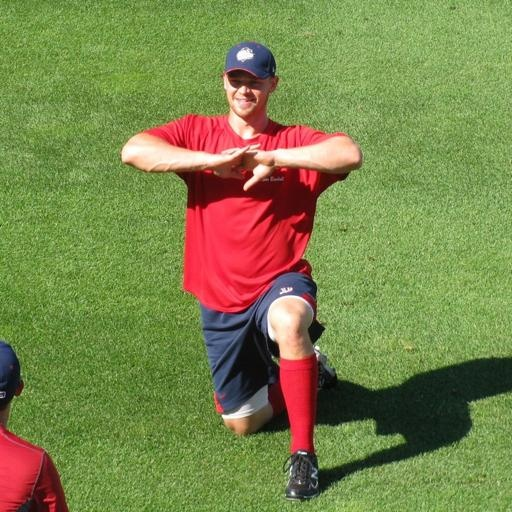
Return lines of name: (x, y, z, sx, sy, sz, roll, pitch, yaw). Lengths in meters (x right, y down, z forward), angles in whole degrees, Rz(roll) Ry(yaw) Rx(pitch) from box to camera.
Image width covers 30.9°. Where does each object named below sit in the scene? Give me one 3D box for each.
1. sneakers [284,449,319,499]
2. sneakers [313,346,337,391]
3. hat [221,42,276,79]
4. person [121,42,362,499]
sneakers: (0.236, 1.145, 4.819, 0.131, 0.141, 0.286, 1, 11, 7)
sneakers: (0.395, 0.676, 5.484, 0.103, 0.339, 0.254, -12, 73, 1)
hat: (-0.032, -1.024, 4.858, 0.254, 0.150, 0.197, 14, 41, 6)
person: (0.018, 0.069, 5.031, 0.868, 1.967, 1.516, -28, 51, -35)
